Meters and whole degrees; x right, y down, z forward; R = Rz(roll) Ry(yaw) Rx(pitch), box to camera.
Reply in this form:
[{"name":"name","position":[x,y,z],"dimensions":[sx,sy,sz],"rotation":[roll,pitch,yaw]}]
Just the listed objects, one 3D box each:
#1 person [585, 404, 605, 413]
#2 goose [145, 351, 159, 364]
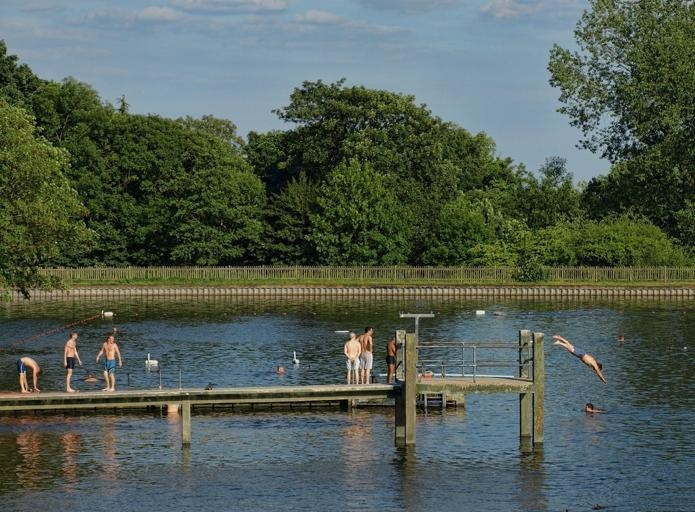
[{"name":"person","position":[16.738,10.067,113.471],"dimensions":[1.239,0.455,1.228],"rotation":[-2,10,-3]},{"name":"goose","position":[-14.019,7.376,121.837],"dimensions":[0.999,0.869,0.582],"rotation":[0,6,-10]}]
